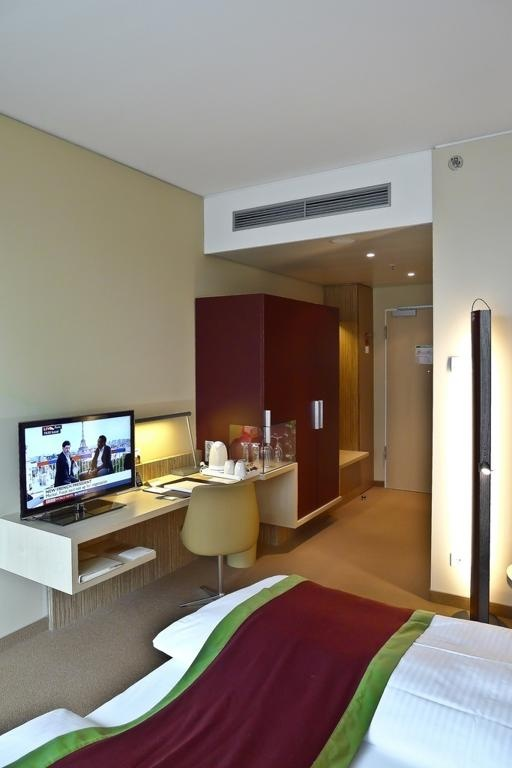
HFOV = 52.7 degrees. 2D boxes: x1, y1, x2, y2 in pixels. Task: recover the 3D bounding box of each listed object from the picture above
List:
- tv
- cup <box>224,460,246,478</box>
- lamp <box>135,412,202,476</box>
[{"bbox_3d":[-0.982,0.448,2.753,0.149,0.486,0.616,-2,1,20],"label":"tv"},{"bbox_3d":[-0.139,0.586,3.570,0.133,0.157,0.081,-1,0,24],"label":"cup"},{"bbox_3d":[-0.645,0.438,3.625,0.196,0.449,0.644,-5,-1,43],"label":"lamp"}]
